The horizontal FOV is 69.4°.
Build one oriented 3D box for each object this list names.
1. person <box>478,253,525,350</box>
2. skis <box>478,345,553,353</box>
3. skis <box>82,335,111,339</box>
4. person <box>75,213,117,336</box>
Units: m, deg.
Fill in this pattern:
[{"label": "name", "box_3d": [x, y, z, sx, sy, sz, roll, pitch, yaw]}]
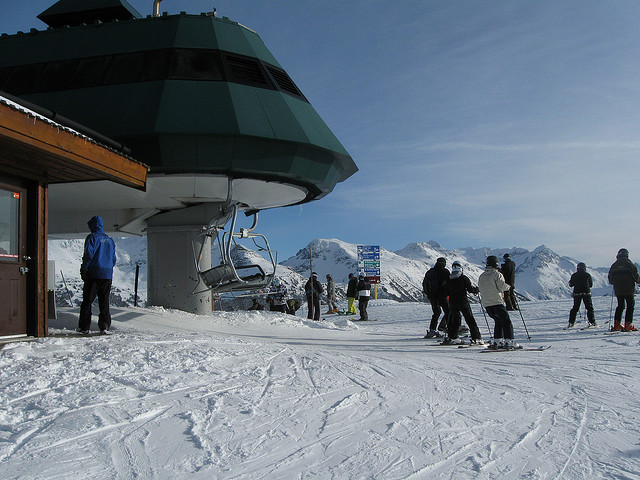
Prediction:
[{"label": "person", "box_3d": [3.665, 1.283, 9.565, 0.823, 1.929, 0.631, 1, -7, -8]}, {"label": "skis", "box_3d": [3.894, 2.187, 9.252, 1.313, 0.113, 0.132, -4, -1, 11]}, {"label": "skis", "box_3d": [-4.128, 1.806, 8.610, 0.976, 0.011, 0.177, -5, -8, 39]}, {"label": "person", "box_3d": [-4.324, 0.678, 9.030, 0.690, 2.317, 0.585, 5, -9, -37]}]
